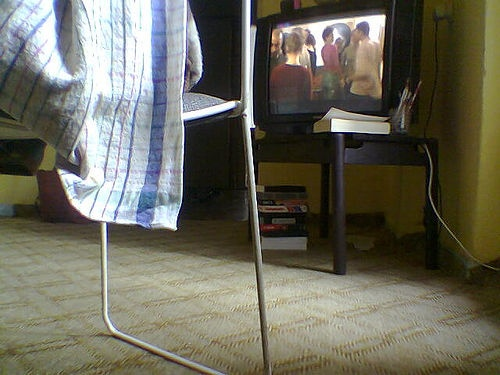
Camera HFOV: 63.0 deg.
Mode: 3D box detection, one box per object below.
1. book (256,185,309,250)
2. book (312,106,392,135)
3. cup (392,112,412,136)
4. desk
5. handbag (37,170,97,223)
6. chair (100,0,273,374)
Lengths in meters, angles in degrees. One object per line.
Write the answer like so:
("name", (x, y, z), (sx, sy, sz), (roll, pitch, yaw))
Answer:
("book", (0.158, 0.132, 2.024), (0.244, 0.259, 0.372), (0, 2, 3))
("book", (0.422, -0.264, 1.655), (0.303, 0.106, 0.135), (-2, 5, -7))
("cup", (0.649, -0.276, 1.752), (0.075, 0.156, 0.087), (2, 9, 12))
("desk", (0.422, -0.083, 1.914), (0.564, 0.639, 0.812), (1, 1, -9))
("handbag", (-1.334, 0.061, 2.893), (0.403, 0.377, 0.096), (0, 5, 18))
("chair", (-0.177, 0.027, 1.536), (0.738, 1.384, 0.619), (-1, 2, -26))
